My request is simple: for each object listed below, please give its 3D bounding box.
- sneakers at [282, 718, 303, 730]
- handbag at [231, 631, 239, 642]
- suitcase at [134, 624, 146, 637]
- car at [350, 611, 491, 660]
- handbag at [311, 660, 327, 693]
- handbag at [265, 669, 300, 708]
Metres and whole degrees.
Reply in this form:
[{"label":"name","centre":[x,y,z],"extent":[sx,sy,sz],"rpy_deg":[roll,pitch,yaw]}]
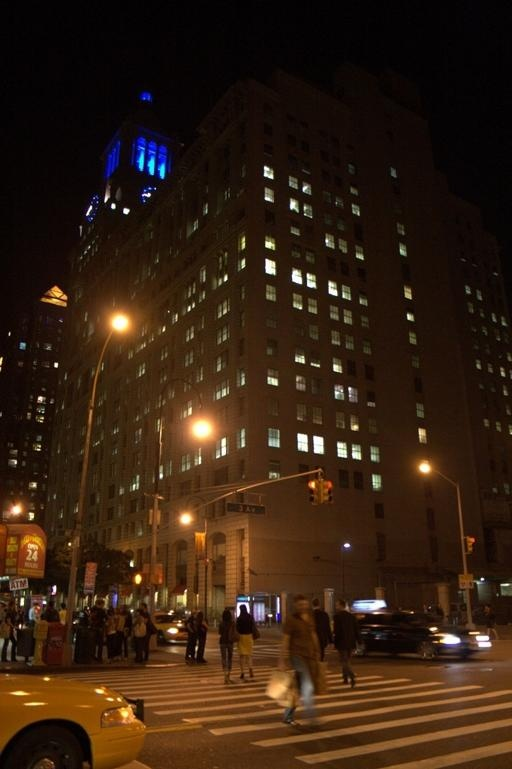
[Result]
[{"label":"sneakers","centre":[0.571,4.954,8.959],"extent":[0.125,0.145,0.350],"rpy_deg":[11,-26,-34]},{"label":"handbag","centre":[-0.528,6.291,15.268],"extent":[0.140,0.224,0.213],"rpy_deg":[-2,-20,2]},{"label":"suitcase","centre":[-4.062,8.574,21.464],"extent":[0.391,0.431,0.383],"rpy_deg":[0,-2,-30]},{"label":"car","centre":[5.644,8.911,21.790],"extent":[4.262,1.582,1.470],"rpy_deg":[-18,-26,36]},{"label":"handbag","centre":[0.901,4.197,8.759],"extent":[0.119,0.404,0.255],"rpy_deg":[-9,-21,21]},{"label":"handbag","centre":[0.384,4.414,8.858],"extent":[0.440,0.496,0.363],"rpy_deg":[2,-20,-9]}]
